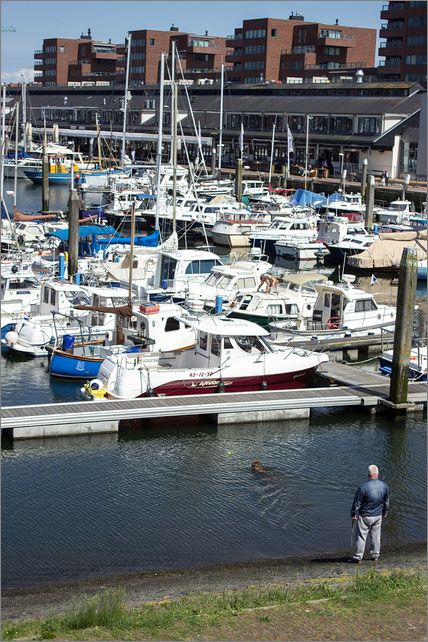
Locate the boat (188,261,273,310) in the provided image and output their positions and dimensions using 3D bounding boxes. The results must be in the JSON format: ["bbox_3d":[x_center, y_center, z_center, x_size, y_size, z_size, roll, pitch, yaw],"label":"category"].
[{"bbox_3d":[0.494,-1.002,27.510,2.590,0.903,1.224,-16,23,-40],"label":"boat"}]

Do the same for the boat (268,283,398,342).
[{"bbox_3d":[3.563,-0.211,25.540,4.346,1.639,1.549,-9,14,-24],"label":"boat"}]

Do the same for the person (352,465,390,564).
[{"bbox_3d":[2.105,2.666,12.081,0.453,1.730,1.023,4,13,10],"label":"person"}]

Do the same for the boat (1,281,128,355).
[{"bbox_3d":[-4.230,-0.097,24.869,3.011,1.033,2.063,-6,14,-25],"label":"boat"}]

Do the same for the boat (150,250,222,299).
[{"bbox_3d":[-0.711,-1.506,27.958,2.199,1.298,1.253,-6,11,-32],"label":"boat"}]

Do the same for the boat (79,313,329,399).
[{"bbox_3d":[-0.362,0.959,20.462,4.955,1.716,1.945,-3,10,-21],"label":"boat"}]

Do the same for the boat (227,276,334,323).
[{"bbox_3d":[1.860,-0.596,26.287,3.211,1.283,1.324,-1,10,-30],"label":"boat"}]

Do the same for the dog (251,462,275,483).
[{"bbox_3d":[0.879,2.828,16.558,0.157,0.119,0.572,1,14,-19],"label":"dog"}]
